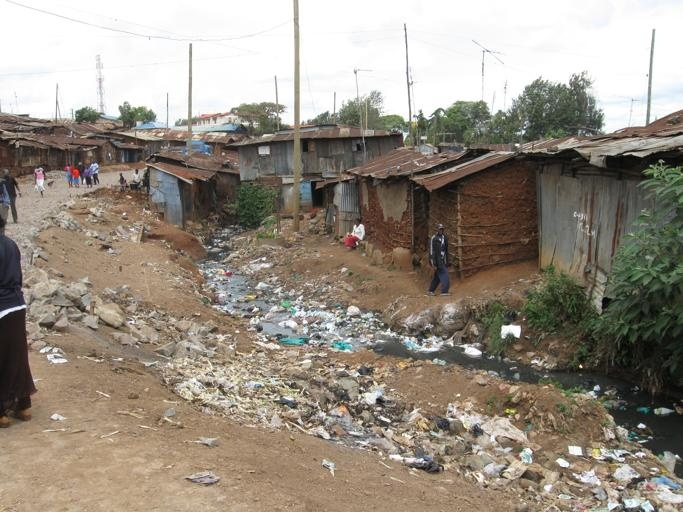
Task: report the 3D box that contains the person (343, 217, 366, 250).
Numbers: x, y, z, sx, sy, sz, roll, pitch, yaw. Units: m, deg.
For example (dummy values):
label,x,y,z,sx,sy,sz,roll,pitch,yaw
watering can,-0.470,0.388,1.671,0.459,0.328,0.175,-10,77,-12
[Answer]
label,x,y,z,sx,sy,sz,roll,pitch,yaw
person,0.490,-0.760,20.686,0.732,1.012,1.011,0,6,-3

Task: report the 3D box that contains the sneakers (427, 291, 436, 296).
label,x,y,z,sx,sy,sz,roll,pitch,yaw
sneakers,2.229,0.911,14.159,0.244,0.139,0.078,-2,5,7

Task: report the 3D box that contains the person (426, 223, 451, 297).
label,x,y,z,sx,sy,sz,roll,pitch,yaw
person,2.442,0.069,14.174,0.510,1.721,0.740,2,7,10
